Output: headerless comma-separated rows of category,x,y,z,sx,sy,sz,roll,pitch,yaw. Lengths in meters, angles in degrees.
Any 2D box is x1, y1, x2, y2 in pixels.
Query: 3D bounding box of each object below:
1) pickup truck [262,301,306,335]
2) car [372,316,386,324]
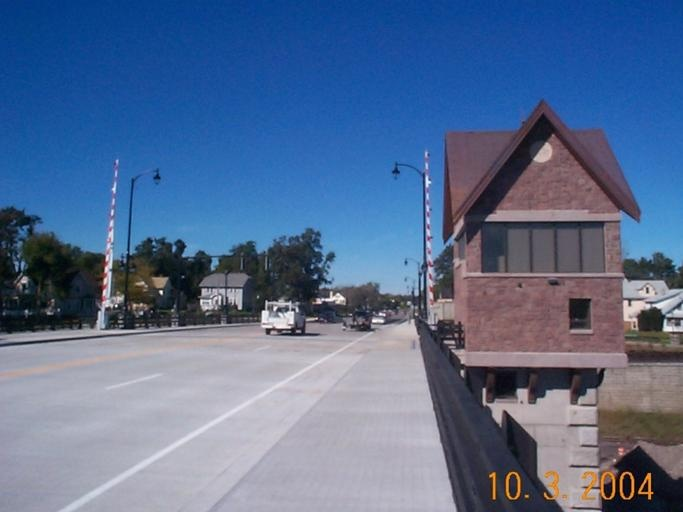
pickup truck,-4.025,4.343,44.462,2.125,1.882,3.564,3,-3,17
car,5.045,8.523,83.901,1.288,0.787,3.908,4,-3,-15
